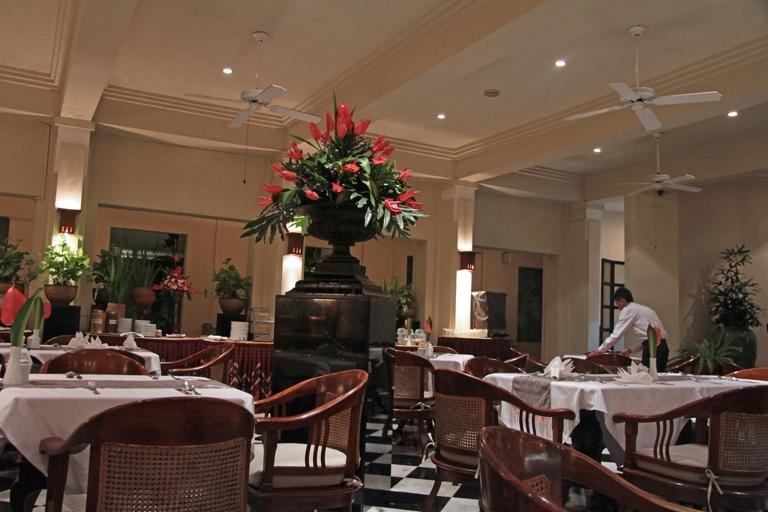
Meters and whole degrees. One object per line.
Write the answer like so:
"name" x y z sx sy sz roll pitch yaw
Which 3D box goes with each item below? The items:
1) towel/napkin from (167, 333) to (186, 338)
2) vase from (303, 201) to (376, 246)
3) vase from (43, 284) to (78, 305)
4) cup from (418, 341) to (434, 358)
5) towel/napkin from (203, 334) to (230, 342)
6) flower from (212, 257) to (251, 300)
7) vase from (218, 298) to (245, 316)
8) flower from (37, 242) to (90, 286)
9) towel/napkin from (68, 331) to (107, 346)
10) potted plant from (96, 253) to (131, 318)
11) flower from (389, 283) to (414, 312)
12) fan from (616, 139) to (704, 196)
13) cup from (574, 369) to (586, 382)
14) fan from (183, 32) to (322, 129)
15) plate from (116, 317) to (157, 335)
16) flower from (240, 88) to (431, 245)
"towel/napkin" -3.286 1.279 8.852 0.255 0.049 0.395 5 -9 -13
"vase" -0.322 -0.219 3.970 0.347 0.144 0.347 3 -14 9
"vase" -4.883 0.598 8.395 0.357 0.242 0.349 12 -15 -42
"cup" 0.536 1.189 7.093 0.211 0.301 0.212 2 -4 0
"towel/napkin" -2.590 1.297 8.658 0.572 0.077 0.246 -4 -11 40
"flower" -2.635 0.477 10.287 0.837 0.923 0.781 3 -5 -23
"vase" -2.689 0.887 9.843 0.339 0.198 0.335 2 -7 2
"flower" -4.876 0.104 8.537 0.698 0.497 0.703 8 7 37
"towel/napkin" -3.012 0.865 5.620 0.310 0.102 0.304 4 -3 -17
"potted plant" -4.597 0.449 9.350 0.589 1.121 1.178 8 -9 -26
"flower" 0.437 0.896 11.974 0.607 0.781 0.608 -3 -4 17
"fan" 4.736 -1.601 9.553 0.952 1.056 0.972 6 -10 -36
"cup" 1.642 1.014 4.676 0.101 0.046 0.141 1 -1 13
"fan" -2.004 -2.699 8.407 1.647 1.057 1.629 15 -27 -39
"plate" -3.942 1.149 8.880 0.605 0.214 0.352 -1 -4 20
"flower" -0.279 -0.547 4.501 1.511 1.197 1.521 -3 -8 19
